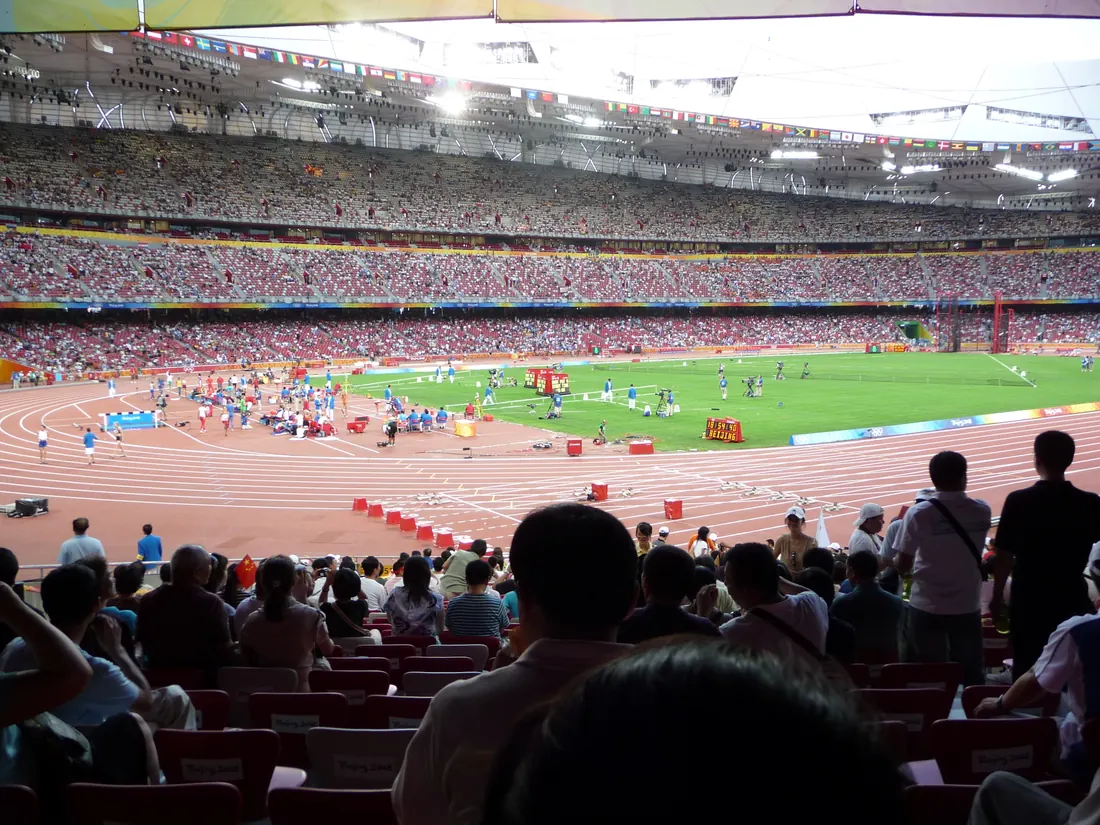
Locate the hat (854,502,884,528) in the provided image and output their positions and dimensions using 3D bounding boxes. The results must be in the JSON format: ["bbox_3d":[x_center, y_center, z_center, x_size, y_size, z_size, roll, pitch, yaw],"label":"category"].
[{"bbox_3d":[3.933,1.281,11.511,0.248,0.269,0.531,6,6,18],"label":"hat"}]
